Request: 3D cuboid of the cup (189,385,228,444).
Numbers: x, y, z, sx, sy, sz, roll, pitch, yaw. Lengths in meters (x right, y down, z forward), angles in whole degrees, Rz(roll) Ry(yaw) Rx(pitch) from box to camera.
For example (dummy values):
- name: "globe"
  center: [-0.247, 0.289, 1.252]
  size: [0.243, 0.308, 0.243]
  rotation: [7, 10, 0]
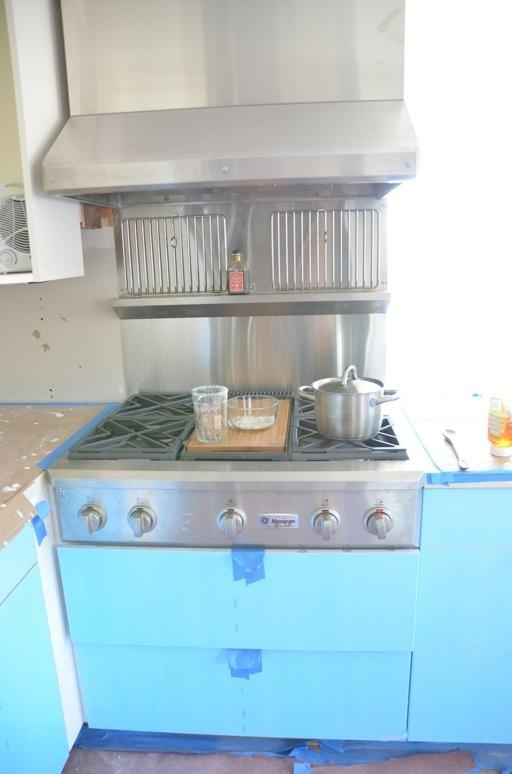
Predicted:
- name: "cup"
  center: [-0.115, 0.073, 1.562]
  size: [0.123, 0.189, 0.126]
  rotation: [-1, 11, 0]

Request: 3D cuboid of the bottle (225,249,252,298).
- name: "bottle"
  center: [-0.056, -0.360, 1.843]
  size: [0.069, 0.132, 0.108]
  rotation: [-2, 14, 0]

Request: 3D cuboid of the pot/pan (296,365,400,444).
- name: "pot/pan"
  center: [0.224, 0.046, 1.447]
  size: [0.274, 0.197, 0.178]
  rotation: [4, 24, 18]
